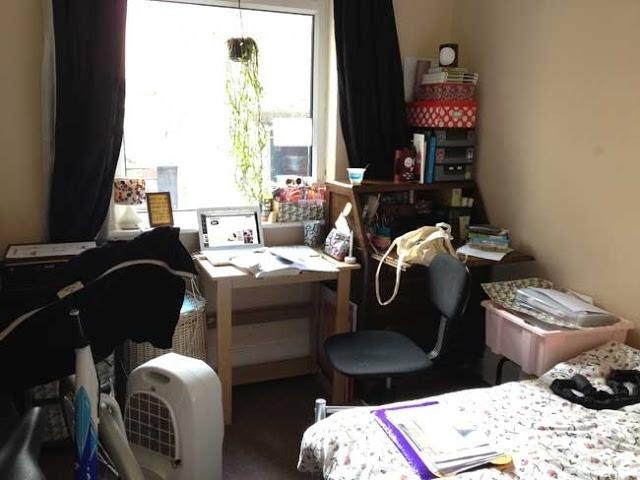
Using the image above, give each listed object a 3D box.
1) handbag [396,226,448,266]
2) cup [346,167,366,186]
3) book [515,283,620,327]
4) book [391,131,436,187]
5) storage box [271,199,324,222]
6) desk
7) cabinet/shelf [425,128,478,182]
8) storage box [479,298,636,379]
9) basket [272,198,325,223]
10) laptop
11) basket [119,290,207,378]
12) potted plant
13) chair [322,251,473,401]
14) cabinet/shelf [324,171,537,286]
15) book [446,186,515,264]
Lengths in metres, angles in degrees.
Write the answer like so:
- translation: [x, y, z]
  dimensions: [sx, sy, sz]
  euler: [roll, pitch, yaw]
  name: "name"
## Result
- translation: [0.612, 0.035, 2.970]
  dimensions: [0.249, 0.110, 0.258]
  euler: [-21, 17, 36]
  name: "handbag"
- translation: [0.235, -0.420, 3.320]
  dimensions: [0.116, 0.086, 0.120]
  euler: [0, 19, 0]
  name: "cup"
- translation: [1.348, 0.361, 2.707]
  dimensions: [0.247, 0.086, 0.256]
  euler: [2, 15, -28]
  name: "book"
- translation: [0.603, -0.553, 3.511]
  dimensions: [0.289, 0.398, 0.400]
  euler: [-2, 11, -7]
  name: "book"
- translation: [-0.144, -0.201, 3.476]
  dimensions: [0.327, 0.155, 0.050]
  euler: [-6, 15, -14]
  name: "storage box"
- translation: [-0.330, 0.556, 3.312]
  dimensions: [0.967, 0.938, 0.664]
  euler: [-1, 12, -25]
  name: "desk"
- translation: [0.847, -0.639, 3.520]
  dimensions: [0.427, 0.436, 0.321]
  euler: [-6, 16, -20]
  name: "cabinet/shelf"
- translation: [1.204, 0.552, 2.837]
  dimensions: [0.375, 0.237, 0.550]
  euler: [-4, 19, -17]
  name: "storage box"
- translation: [-0.135, -0.196, 3.465]
  dimensions: [0.283, 0.159, 0.129]
  euler: [-2, -2, -11]
  name: "basket"
- translation: [-0.580, -0.061, 3.259]
  dimensions: [0.412, 0.300, 0.346]
  euler: [-6, 19, -21]
  name: "laptop"
- translation: [-0.927, 0.501, 3.019]
  dimensions: [0.445, 0.390, 0.540]
  euler: [-1, 5, -6]
  name: "basket"
- translation: [-0.479, -0.777, 3.358]
  dimensions: [0.278, 1.087, 0.147]
  euler: [-6, 15, -15]
  name: "potted plant"
- translation: [0.389, 0.361, 2.999]
  dimensions: [0.794, 1.056, 0.662]
  euler: [-1, 10, -12]
  name: "chair"
- translation: [0.638, -0.156, 3.289]
  dimensions: [0.882, 0.847, 0.861]
  euler: [-6, 15, -23]
  name: "cabinet/shelf"
- translation: [1.023, -0.071, 3.248]
  dimensions: [0.359, 0.319, 0.519]
  euler: [1, 29, 5]
  name: "book"
